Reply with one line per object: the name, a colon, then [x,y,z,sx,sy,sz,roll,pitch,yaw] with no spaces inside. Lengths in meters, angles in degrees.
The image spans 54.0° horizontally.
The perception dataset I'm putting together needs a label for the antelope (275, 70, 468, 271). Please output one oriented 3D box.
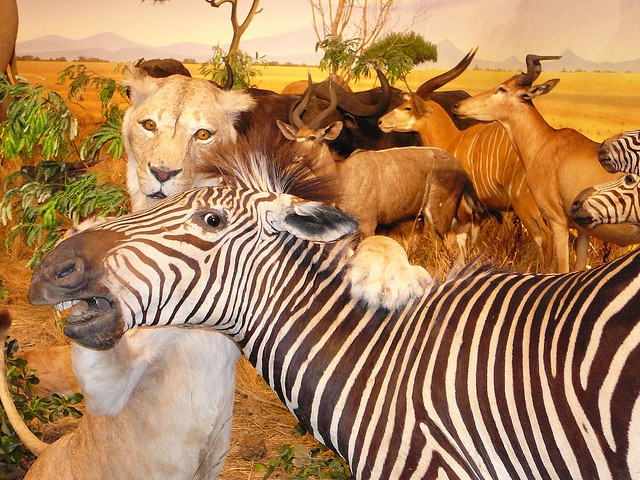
antelope: [0.555,-0.496,5.533,1.653,2.009,0.609,-1,13,0]
